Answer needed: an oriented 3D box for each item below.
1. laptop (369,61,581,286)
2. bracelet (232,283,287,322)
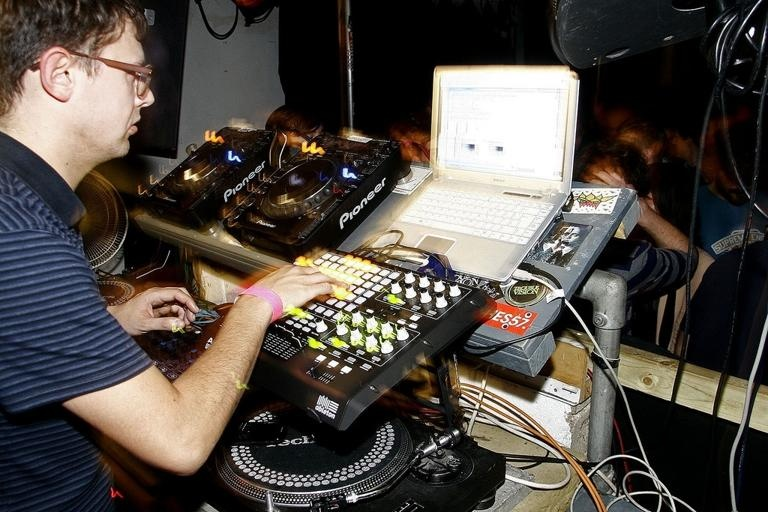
[{"bbox_3d":[0.254,-0.297,1.697,0.590,0.445,0.625,18,46,41],"label":"laptop"},{"bbox_3d":[-0.342,0.131,1.476,0.119,0.039,0.089,38,70,11],"label":"bracelet"}]
